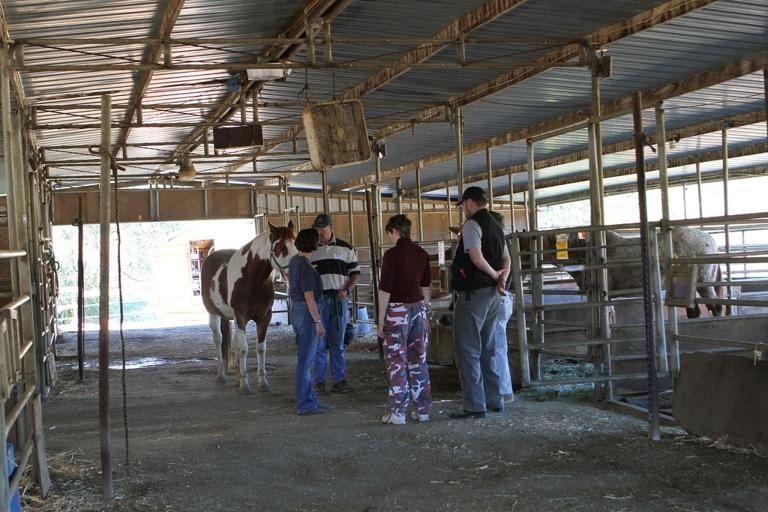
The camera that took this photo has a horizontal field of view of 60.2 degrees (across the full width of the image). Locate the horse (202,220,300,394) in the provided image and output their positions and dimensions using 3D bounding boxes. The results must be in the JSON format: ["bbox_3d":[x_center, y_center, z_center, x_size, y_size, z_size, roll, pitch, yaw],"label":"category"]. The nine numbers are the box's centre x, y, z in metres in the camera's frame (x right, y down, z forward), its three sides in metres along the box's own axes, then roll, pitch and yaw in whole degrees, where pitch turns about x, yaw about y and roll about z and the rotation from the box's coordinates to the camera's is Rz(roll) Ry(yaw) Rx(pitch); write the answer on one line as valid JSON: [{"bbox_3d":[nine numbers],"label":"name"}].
[{"bbox_3d":[-1.978,0.886,9.532,0.837,2.248,3.319,1,-4,-28],"label":"horse"}]

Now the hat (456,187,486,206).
[{"bbox_3d":[0.965,-0.646,7.325,0.189,0.140,0.253,2,-1,-38],"label":"hat"}]

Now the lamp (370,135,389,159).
[{"bbox_3d":[-0.086,-1.868,11.556,0.235,0.288,0.798,0,10,-8],"label":"lamp"}]

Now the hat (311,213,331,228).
[{"bbox_3d":[-0.798,-0.445,8.700,0.164,0.132,0.232,1,-5,22],"label":"hat"}]

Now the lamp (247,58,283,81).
[{"bbox_3d":[-1.683,-2.587,9.351,0.527,0.217,0.654,-1,-7,-5],"label":"lamp"}]

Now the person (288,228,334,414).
[{"bbox_3d":[-0.883,0.859,7.638,0.385,1.880,0.470,-3,2,-7],"label":"person"}]

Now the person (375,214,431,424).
[{"bbox_3d":[0.231,0.674,7.172,0.614,2.210,0.400,-3,2,-7],"label":"person"}]
